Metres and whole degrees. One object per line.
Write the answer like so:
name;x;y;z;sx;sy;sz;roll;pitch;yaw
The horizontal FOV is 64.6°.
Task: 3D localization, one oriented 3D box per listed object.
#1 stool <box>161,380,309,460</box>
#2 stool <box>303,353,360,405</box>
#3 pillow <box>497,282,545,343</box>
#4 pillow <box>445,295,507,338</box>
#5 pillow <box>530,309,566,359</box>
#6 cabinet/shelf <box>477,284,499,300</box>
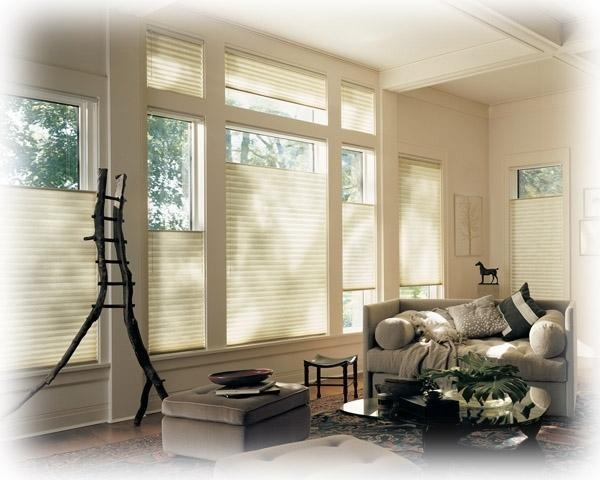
stool;-0.494;1.181;3.164;0.624;0.322;0.704;-6;-8;35
stool;0.305;1.380;4.727;0.588;0.345;0.546;8;-13;-40
pillow;2.055;0.685;4.471;0.170;0.489;0.510;19;-45;-24
pillow;1.711;0.741;4.581;0.411;0.118;0.389;-16;37;7
pillow;2.119;0.687;4.010;0.293;0.234;0.624;2;2;26
cabinet/shelf;2.646;0.728;6.683;0.369;0.296;0.251;0;-6;13
